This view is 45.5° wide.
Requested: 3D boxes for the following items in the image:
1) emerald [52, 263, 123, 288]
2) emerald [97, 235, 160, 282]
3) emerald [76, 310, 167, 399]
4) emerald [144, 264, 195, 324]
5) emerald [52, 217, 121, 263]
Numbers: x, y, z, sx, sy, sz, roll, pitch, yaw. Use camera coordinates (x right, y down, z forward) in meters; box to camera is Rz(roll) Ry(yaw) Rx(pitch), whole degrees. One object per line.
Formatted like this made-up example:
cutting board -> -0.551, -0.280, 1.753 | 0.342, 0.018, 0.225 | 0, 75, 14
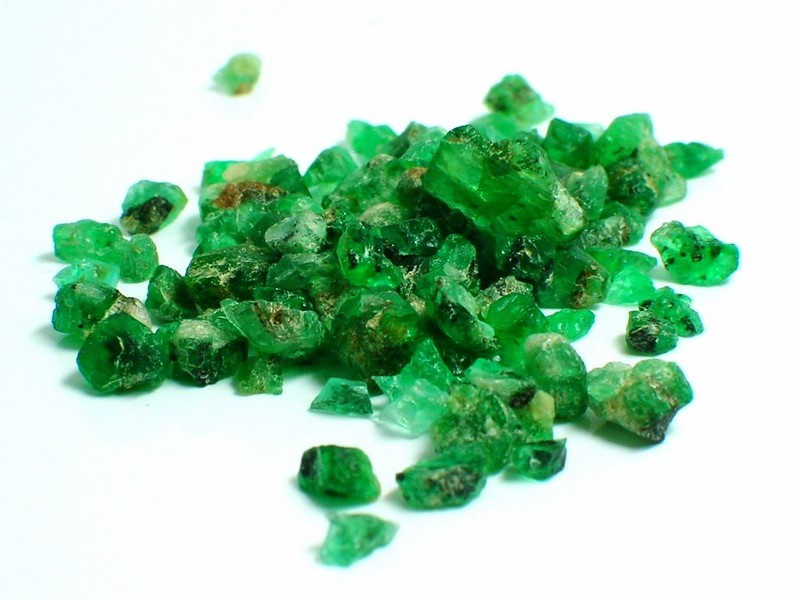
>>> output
emerald -> -1.123, -0.091, 3.417 | 0.147, 0.150, 0.054 | 0, -69, -9
emerald -> -0.972, -0.143, 3.540 | 0.213, 0.153, 0.151 | -7, -47, 11
emerald -> -0.855, 0.166, 2.954 | 0.278, 0.179, 0.168 | 4, -34, -9
emerald -> -0.768, -0.003, 3.198 | 0.143, 0.206, 0.068 | -1, -10, -31
emerald -> -1.137, -0.203, 3.661 | 0.213, 0.081, 0.318 | -10, -17, -14
